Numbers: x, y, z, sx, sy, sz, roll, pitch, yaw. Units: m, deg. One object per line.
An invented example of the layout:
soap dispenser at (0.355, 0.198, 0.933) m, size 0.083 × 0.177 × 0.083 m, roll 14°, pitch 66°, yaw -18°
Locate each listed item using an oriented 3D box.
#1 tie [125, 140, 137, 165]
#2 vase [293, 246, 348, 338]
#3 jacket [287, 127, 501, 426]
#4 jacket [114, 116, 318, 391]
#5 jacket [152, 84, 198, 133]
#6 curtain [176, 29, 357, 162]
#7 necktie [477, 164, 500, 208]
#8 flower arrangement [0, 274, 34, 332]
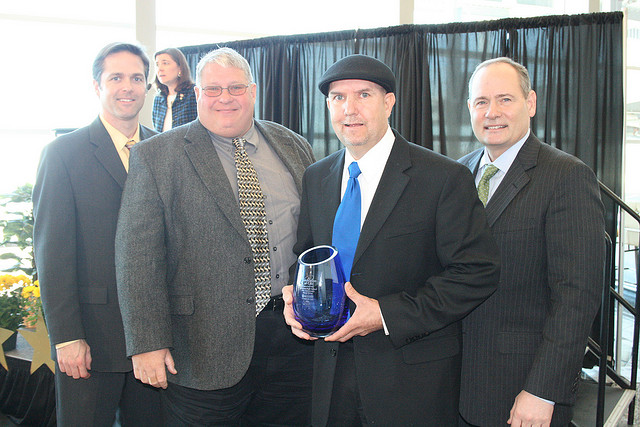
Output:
tie at (-1.084, -0.358, 3.030) m, size 0.100 × 0.118 × 0.042 m, roll 1°, pitch 3°, yaw -2°
vase at (-0.002, 0.381, 2.497) m, size 0.256 × 0.374 × 0.247 m, roll 8°, pitch 19°, yaw 32°
jacket at (0.367, 0.316, 2.627) m, size 0.983 × 1.447 × 0.502 m, roll 0°, pitch 6°, yaw 18°
jacket at (-0.703, 0.235, 2.760) m, size 0.681 × 1.387 × 0.337 m, roll -4°, pitch 6°, yaw -19°
jacket at (-1.381, -1.092, 4.988) m, size 0.375 × 0.646 × 0.685 m, roll -5°, pitch 7°, yaw -20°
curtain at (-0.748, -1.120, 5.445) m, size 0.140 × 1.269 × 1.782 m, roll 14°, pitch 24°, yaw 40°
necktie at (0.911, -0.166, 2.933) m, size 0.103 × 0.284 × 0.073 m, roll 37°, pitch -30°, yaw -32°
flower arrangement at (-2.341, 0.685, 4.070) m, size 0.229 × 0.417 × 0.234 m, roll -3°, pitch 6°, yaw -6°
